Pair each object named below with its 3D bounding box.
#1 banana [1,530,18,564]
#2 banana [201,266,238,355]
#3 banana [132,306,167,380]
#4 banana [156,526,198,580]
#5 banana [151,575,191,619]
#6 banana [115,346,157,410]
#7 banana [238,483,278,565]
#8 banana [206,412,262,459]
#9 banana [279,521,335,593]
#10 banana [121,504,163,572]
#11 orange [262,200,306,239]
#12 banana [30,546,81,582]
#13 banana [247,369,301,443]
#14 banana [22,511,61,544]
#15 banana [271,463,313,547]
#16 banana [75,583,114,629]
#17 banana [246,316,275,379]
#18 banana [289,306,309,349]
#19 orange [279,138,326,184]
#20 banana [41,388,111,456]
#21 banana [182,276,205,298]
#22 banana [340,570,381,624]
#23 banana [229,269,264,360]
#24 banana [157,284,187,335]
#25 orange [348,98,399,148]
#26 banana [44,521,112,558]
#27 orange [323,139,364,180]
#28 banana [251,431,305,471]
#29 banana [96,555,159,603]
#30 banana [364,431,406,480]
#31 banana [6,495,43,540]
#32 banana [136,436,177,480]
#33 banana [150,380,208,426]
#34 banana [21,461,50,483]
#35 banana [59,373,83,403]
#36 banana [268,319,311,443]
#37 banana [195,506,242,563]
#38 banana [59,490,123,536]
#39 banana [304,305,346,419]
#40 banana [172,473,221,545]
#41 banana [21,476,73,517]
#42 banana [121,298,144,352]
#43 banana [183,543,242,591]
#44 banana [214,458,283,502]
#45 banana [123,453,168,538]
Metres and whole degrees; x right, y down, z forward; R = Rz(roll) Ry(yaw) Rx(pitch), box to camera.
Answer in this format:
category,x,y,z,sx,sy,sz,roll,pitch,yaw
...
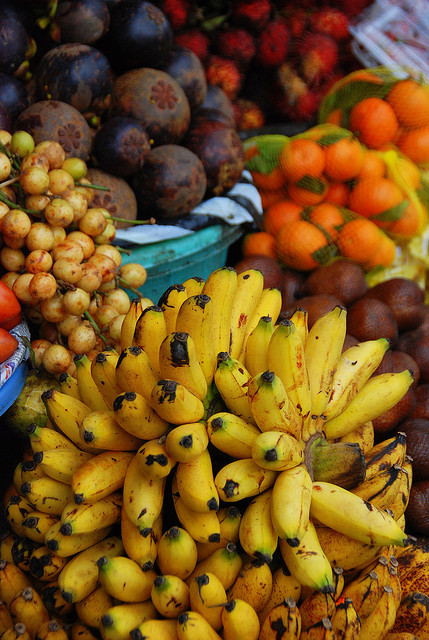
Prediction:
category,x,y,z,sx,sy,sz,roll,pitch,yaw
banana,-0.553,0.627,1.604,0.037,0.050,0.061,-13,89,-16
banana,0.015,-0.033,1.562,0.074,0.083,0.252,1,82,-27
banana,-0.157,0.065,1.439,0.060,0.199,0.066,0,31,2
banana,-0.097,0.538,1.375,0.099,0.153,0.105,8,46,-2
banana,-0.098,0.620,1.314,0.084,0.125,0.073,-8,50,-10
banana,-0.177,0.135,1.360,0.077,0.153,0.053,-16,42,-2
banana,0.102,0.484,1.336,0.081,0.075,0.252,4,11,-3
banana,0.053,0.277,1.390,0.069,0.150,0.073,10,77,42
banana,0.191,0.520,1.338,0.070,0.057,0.190,19,34,-47
banana,-0.187,0.511,1.419,0.102,0.071,0.204,13,22,-24
orange,0.371,-0.524,3.073,0.181,0.171,0.208,31,72,-24
banana,-0.410,0.612,1.475,0.128,0.067,0.072,-22,69,27
banana,0.136,0.205,1.367,0.065,0.222,0.071,-3,46,31
banana,-0.441,0.514,1.469,0.063,0.115,0.062,23,91,36
banana,0.165,0.404,1.267,0.081,0.076,0.224,8,43,0
banana,-0.284,0.685,1.399,0.069,0.126,0.051,12,25,-17
banana,0.107,0.079,1.495,0.057,0.170,0.063,9,15,7
banana,0.248,0.025,1.683,0.039,0.046,0.126,-1,88,-35
orange,0.459,-0.825,3.063,0.231,0.132,0.195,40,100,23
banana,-0.346,0.262,1.477,0.057,0.065,0.185,-44,92,-12
banana,-0.062,-0.086,1.617,0.033,0.056,0.042,33,32,8
banana,0.365,0.641,1.430,0.049,0.061,0.172,23,69,5
banana,0.083,-0.014,1.704,0.099,0.297,0.074,11,28,19
banana,-0.108,-0.023,1.558,0.046,0.066,0.131,25,75,-25
orange,0.810,-1.005,3.153,0.268,0.261,0.307,7,14,-4
banana,-0.335,0.522,1.449,0.158,0.054,0.071,-16,54,-46
orange,0.677,-0.826,3.010,0.214,0.231,0.205,-5,13,-26
banana,0.132,0.299,1.344,0.109,0.211,0.089,10,83,11
banana,-0.198,0.604,1.387,0.114,0.201,0.094,22,46,-17
banana,0.455,0.359,1.595,0.065,0.075,0.224,-8,15,34
banana,-0.522,0.512,1.580,0.075,0.074,0.126,-28,90,-10
banana,-0.131,0.301,1.277,0.062,0.110,0.049,-6,93,-11
banana,-0.079,0.178,1.293,0.054,0.144,0.067,-10,71,16
banana,-0.466,0.394,1.517,0.041,0.070,0.054,-22,60,-33
banana,-0.395,0.190,1.609,0.030,0.033,0.090,-29,83,11
banana,0.218,0.159,1.460,0.090,0.314,0.102,-8,22,16
banana,0.014,0.513,1.426,0.082,0.161,0.057,39,36,7
banana,-0.286,0.453,1.420,0.059,0.203,0.067,42,98,15
banana,0.295,0.100,1.583,0.097,0.107,0.320,13,73,-4
banana,-0.039,0.427,1.320,0.069,0.071,0.191,-13,46,-18
banana,-0.415,0.438,1.508,0.075,0.145,0.069,-51,25,5
banana,-0.221,0.009,1.584,0.046,0.046,0.148,4,73,36
banana,-0.003,0.573,1.349,0.068,0.161,0.077,-2,57,-16
banana,0.075,0.359,1.372,0.153,0.075,0.064,-6,27,-44
banana,-0.161,0.403,1.351,0.069,0.068,0.207,-16,54,24
